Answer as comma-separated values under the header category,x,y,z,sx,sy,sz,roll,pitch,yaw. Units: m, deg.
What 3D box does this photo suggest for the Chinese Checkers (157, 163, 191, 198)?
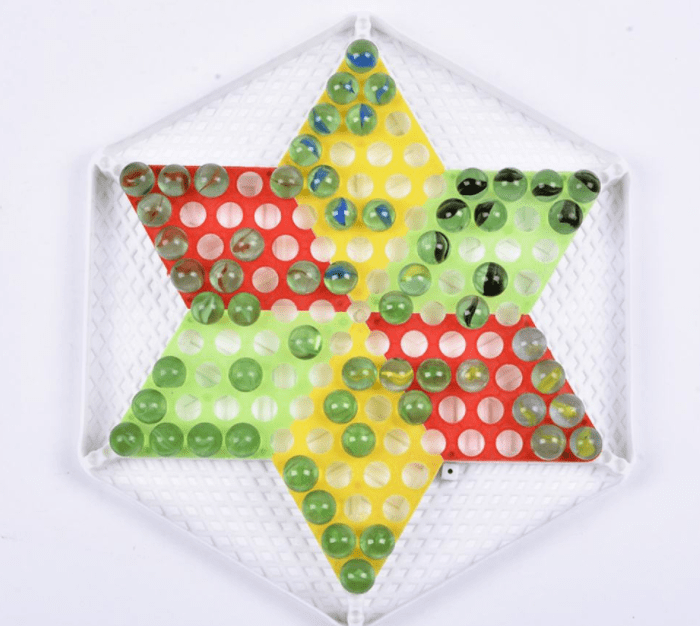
category,x,y,z,sx,sy,sz,roll,pitch,yaw
Chinese Checkers,-0.397,-0.299,1.849,0.066,0.053,0.073,0,-53,1

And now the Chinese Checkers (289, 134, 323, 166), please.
category,x,y,z,sx,sy,sz,roll,pitch,yaw
Chinese Checkers,-0.104,-0.365,1.839,0.064,0.035,0.063,-1,-86,1

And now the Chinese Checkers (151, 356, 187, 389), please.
category,x,y,z,sx,sy,sz,roll,pitch,yaw
Chinese Checkers,-0.394,0.131,1.757,0.067,0.036,0.064,2,-94,-7

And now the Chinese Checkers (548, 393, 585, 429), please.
category,x,y,z,sx,sy,sz,roll,pitch,yaw
Chinese Checkers,0.478,0.221,1.813,0.075,0.052,0.071,-14,-54,11

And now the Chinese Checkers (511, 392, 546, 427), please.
category,x,y,z,sx,sy,sz,roll,pitch,yaw
Chinese Checkers,0.396,0.219,1.808,0.075,0.055,0.075,-11,-54,9

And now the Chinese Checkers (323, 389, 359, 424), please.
category,x,y,z,sx,sy,sz,roll,pitch,yaw
Chinese Checkers,-0.021,0.210,1.783,0.070,0.058,0.080,-10,-54,9

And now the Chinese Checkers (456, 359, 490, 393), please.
category,x,y,z,sx,sy,sz,roll,pitch,yaw
Chinese Checkers,0.270,0.146,1.804,0.070,0.046,0.077,-3,-53,3

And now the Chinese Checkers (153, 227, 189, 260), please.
category,x,y,z,sx,sy,sz,roll,pitch,yaw
Chinese Checkers,-0.397,-0.152,1.828,0.071,0.048,0.071,-16,-55,13

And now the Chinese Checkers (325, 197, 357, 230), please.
category,x,y,z,sx,sy,sz,roll,pitch,yaw
Chinese Checkers,-0.020,-0.216,1.818,0.068,0.045,0.064,4,-53,-2

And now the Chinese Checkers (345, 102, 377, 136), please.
category,x,y,z,sx,sy,sz,roll,pitch,yaw
Chinese Checkers,0.025,-0.433,1.840,0.066,0.051,0.062,16,-54,-11

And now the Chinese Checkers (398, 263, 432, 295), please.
category,x,y,z,sx,sy,sz,roll,pitch,yaw
Chinese Checkers,0.143,-0.070,1.804,0.073,0.053,0.068,16,-54,-11

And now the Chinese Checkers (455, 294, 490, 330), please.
category,x,y,z,sx,sy,sz,roll,pitch,yaw
Chinese Checkers,0.267,0.000,1.802,0.078,0.020,0.077,0,-92,-1

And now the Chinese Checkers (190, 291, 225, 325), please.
category,x,y,z,sx,sy,sz,roll,pitch,yaw
Chinese Checkers,-0.317,-0.007,1.809,0.072,0.055,0.066,-3,-53,3

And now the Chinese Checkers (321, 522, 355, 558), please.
category,x,y,z,sx,sy,sz,roll,pitch,yaw
Chinese Checkers,-0.028,0.484,1.749,0.067,0.032,0.066,-4,-95,3

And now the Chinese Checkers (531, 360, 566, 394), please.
category,x,y,z,sx,sy,sz,roll,pitch,yaw
Chinese Checkers,0.436,0.142,1.817,0.071,0.046,0.069,30,-58,-20

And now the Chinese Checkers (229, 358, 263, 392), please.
category,x,y,z,sx,sy,sz,roll,pitch,yaw
Chinese Checkers,-0.229,0.134,1.773,0.067,0.037,0.066,-1,-89,-5

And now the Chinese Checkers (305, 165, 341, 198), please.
category,x,y,z,sx,sy,sz,roll,pitch,yaw
Chinese Checkers,-0.061,-0.289,1.832,0.074,0.053,0.070,7,-53,-4

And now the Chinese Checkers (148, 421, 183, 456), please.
category,x,y,z,sx,sy,sz,roll,pitch,yaw
Chinese Checkers,-0.399,0.281,1.787,0.076,0.050,0.064,16,-54,-11

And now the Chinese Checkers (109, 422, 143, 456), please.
category,x,y,z,sx,sy,sz,roll,pitch,yaw
Chinese Checkers,-0.483,0.274,1.771,0.070,0.036,0.069,5,-93,-14

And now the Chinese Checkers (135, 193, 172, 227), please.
category,x,y,z,sx,sy,sz,roll,pitch,yaw
Chinese Checkers,-0.439,-0.233,1.847,0.069,0.060,0.074,-8,-53,7

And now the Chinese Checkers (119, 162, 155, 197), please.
category,x,y,z,sx,sy,sz,roll,pitch,yaw
Chinese Checkers,-0.476,-0.302,1.844,0.067,0.063,0.075,-5,-53,5

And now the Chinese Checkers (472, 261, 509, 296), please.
category,x,y,z,sx,sy,sz,roll,pitch,yaw
Chinese Checkers,0.307,-0.073,1.805,0.080,0.021,0.078,-3,-89,2

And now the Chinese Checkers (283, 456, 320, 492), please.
category,x,y,z,sx,sy,sz,roll,pitch,yaw
Chinese Checkers,-0.108,0.352,1.772,0.076,0.061,0.070,7,-53,-4

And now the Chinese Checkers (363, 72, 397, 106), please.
category,x,y,z,sx,sy,sz,roll,pitch,yaw
Chinese Checkers,0.067,-0.502,1.847,0.071,0.044,0.065,1,-53,0

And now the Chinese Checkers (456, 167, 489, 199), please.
category,x,y,z,sx,sy,sz,roll,pitch,yaw
Chinese Checkers,0.270,-0.290,1.826,0.064,0.035,0.062,-2,-86,5

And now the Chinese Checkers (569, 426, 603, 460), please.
category,x,y,z,sx,sy,sz,roll,pitch,yaw
Chinese Checkers,0.517,0.286,1.791,0.069,0.022,0.068,4,-84,11

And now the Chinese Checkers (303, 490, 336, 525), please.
category,x,y,z,sx,sy,sz,roll,pitch,yaw
Chinese Checkers,-0.068,0.419,1.769,0.069,0.058,0.060,-30,-59,22

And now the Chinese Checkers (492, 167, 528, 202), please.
category,x,y,z,sx,sy,sz,roll,pitch,yaw
Chinese Checkers,0.355,-0.284,1.819,0.067,0.042,0.066,5,-90,4

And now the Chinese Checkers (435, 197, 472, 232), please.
category,x,y,z,sx,sy,sz,roll,pitch,yaw
Chinese Checkers,0.230,-0.215,1.831,0.074,0.048,0.074,-7,-53,6

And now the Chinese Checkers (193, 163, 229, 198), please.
category,x,y,z,sx,sy,sz,roll,pitch,yaw
Chinese Checkers,-0.307,-0.292,1.822,0.070,0.053,0.069,-5,-89,-15

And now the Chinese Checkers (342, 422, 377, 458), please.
category,x,y,z,sx,sy,sz,roll,pitch,yaw
Chinese Checkers,0.018,0.274,1.754,0.069,0.031,0.068,-2,-95,2

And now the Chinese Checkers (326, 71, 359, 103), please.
category,x,y,z,sx,sy,sz,roll,pitch,yaw
Chinese Checkers,-0.018,-0.505,1.846,0.069,0.040,0.062,8,-53,-5

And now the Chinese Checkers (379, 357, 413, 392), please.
category,x,y,z,sx,sy,sz,roll,pitch,yaw
Chinese Checkers,0.103,0.138,1.794,0.075,0.056,0.071,-3,-53,3

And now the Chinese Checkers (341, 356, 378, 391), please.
category,x,y,z,sx,sy,sz,roll,pitch,yaw
Chinese Checkers,0.021,0.138,1.795,0.075,0.062,0.082,1,-53,1

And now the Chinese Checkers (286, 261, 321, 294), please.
category,x,y,z,sx,sy,sz,roll,pitch,yaw
Chinese Checkers,-0.094,-0.076,1.757,0.068,0.037,0.067,4,-89,-8

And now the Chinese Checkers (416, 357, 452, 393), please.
category,x,y,z,sx,sy,sz,roll,pitch,yaw
Chinese Checkers,0.181,0.135,1.770,0.068,0.037,0.067,-3,-90,2

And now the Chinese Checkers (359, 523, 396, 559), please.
category,x,y,z,sx,sy,sz,roll,pitch,yaw
Chinese Checkers,0.057,0.493,1.760,0.072,0.052,0.065,-17,-55,14

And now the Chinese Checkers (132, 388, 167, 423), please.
category,x,y,z,sx,sy,sz,roll,pitch,yaw
Chinese Checkers,-0.437,0.207,1.792,0.077,0.052,0.067,31,-58,-21

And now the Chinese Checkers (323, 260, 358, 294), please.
category,x,y,z,sx,sy,sz,roll,pitch,yaw
Chinese Checkers,-0.021,-0.069,1.807,0.074,0.055,0.084,2,-53,0

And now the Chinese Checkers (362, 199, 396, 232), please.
category,x,y,z,sx,sy,sz,roll,pitch,yaw
Chinese Checkers,0.064,-0.212,1.820,0.068,0.049,0.071,-14,-54,11

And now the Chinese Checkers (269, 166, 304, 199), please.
category,x,y,z,sx,sy,sz,roll,pitch,yaw
Chinese Checkers,-0.141,-0.289,1.830,0.074,0.041,0.069,8,-53,-5

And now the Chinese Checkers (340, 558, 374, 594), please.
category,x,y,z,sx,sy,sz,roll,pitch,yaw
Chinese Checkers,0.014,0.565,1.759,0.067,0.058,0.064,35,-60,-23

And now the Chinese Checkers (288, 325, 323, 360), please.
category,x,y,z,sx,sy,sz,roll,pitch,yaw
Chinese Checkers,-0.099,0.074,1.797,0.074,0.055,0.089,5,-53,-3

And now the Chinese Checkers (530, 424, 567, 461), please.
category,x,y,z,sx,sy,sz,roll,pitch,yaw
Chinese Checkers,0.434,0.286,1.796,0.071,0.054,0.069,-17,-55,13

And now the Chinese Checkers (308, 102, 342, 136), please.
category,x,y,z,sx,sy,sz,roll,pitch,yaw
Chinese Checkers,-0.061,-0.434,1.844,0.072,0.051,0.068,-18,-55,14

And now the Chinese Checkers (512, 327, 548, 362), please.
category,x,y,z,sx,sy,sz,roll,pitch,yaw
Chinese Checkers,0.402,0.074,1.820,0.082,0.052,0.076,-4,-53,4

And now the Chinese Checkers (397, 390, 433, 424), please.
category,x,y,z,sx,sy,sz,roll,pitch,yaw
Chinese Checkers,0.139,0.204,1.760,0.068,0.037,0.066,-1,-93,2

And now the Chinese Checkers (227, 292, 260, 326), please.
category,x,y,z,sx,sy,sz,roll,pitch,yaw
Chinese Checkers,-0.233,-0.006,1.809,0.070,0.064,0.068,7,-53,-5

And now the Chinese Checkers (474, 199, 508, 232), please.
category,x,y,z,sx,sy,sz,roll,pitch,yaw
Chinese Checkers,0.314,-0.215,1.826,0.066,0.036,0.065,-3,-83,7

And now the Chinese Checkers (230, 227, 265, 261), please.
category,x,y,z,sx,sy,sz,roll,pitch,yaw
Chinese Checkers,-0.227,-0.147,1.818,0.070,0.048,0.076,1,-53,0
